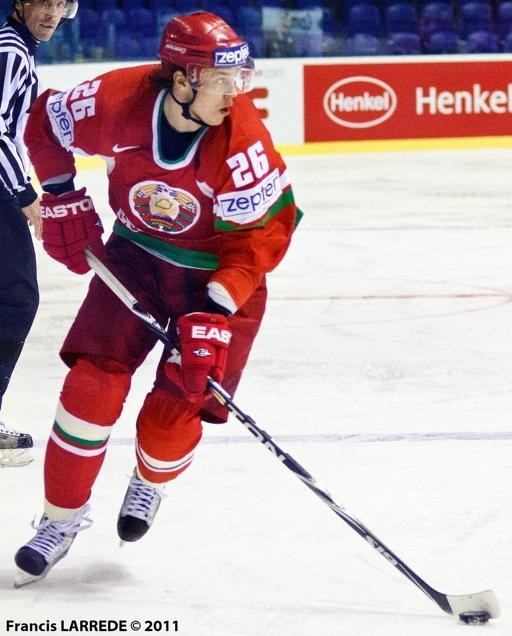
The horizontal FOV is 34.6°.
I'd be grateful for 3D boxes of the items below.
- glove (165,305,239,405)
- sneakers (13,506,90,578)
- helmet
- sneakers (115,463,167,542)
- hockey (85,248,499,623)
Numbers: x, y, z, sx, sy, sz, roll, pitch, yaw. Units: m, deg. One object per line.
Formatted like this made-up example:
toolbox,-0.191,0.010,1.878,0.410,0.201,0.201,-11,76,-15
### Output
glove,-0.110,0.069,1.639,0.156,0.170,0.080,11,-5,-15
sneakers,-0.415,0.457,1.704,0.078,0.074,0.195,32,16,-3
helmet,-0.104,-0.553,1.690,0.216,0.134,0.143,19,42,20
sneakers,-0.248,0.406,1.830,0.075,0.069,0.170,25,36,-14
hockey,0.090,0.302,2.032,1.298,0.162,0.151,35,42,9
